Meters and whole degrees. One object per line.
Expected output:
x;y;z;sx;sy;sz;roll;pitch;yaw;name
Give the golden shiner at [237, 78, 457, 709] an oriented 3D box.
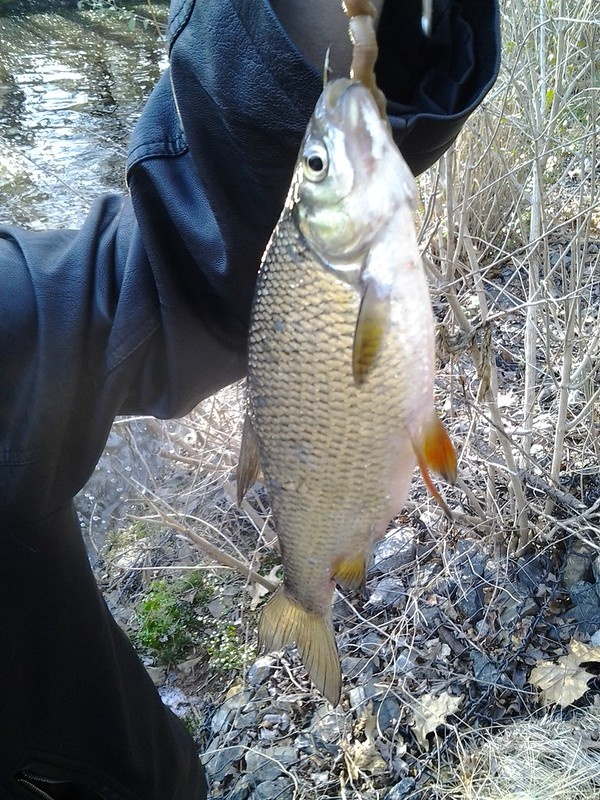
0.068;0.064;1.214;0.362;1.089;0.138;19;29;33;golden shiner
